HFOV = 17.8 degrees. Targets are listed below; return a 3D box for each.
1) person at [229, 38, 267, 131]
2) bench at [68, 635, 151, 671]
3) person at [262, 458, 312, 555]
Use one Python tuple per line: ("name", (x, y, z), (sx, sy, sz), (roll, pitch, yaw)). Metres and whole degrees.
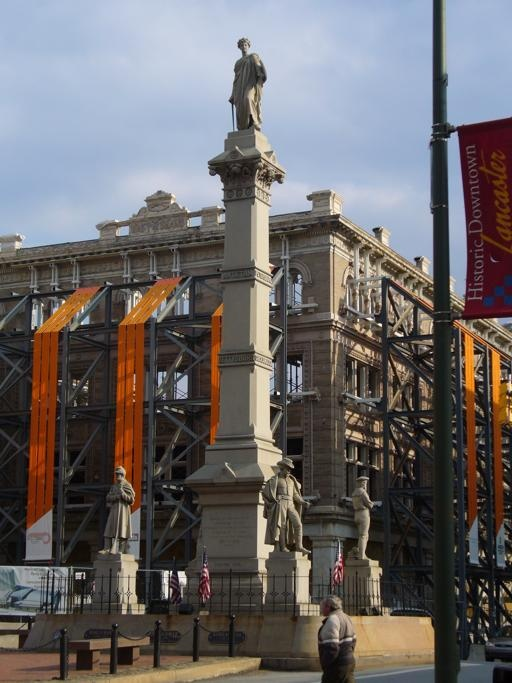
("person", (-0.212, -6.362, 40.058), (0.813, 2.480, 0.782), (0, -8, -1))
("bench", (-2.726, 5.892, 30.872), (1.024, 0.567, 3.227), (-1, -9, 5))
("person", (0.633, 3.507, 34.947), (0.774, 2.028, 1.086), (-6, -10, 34))
